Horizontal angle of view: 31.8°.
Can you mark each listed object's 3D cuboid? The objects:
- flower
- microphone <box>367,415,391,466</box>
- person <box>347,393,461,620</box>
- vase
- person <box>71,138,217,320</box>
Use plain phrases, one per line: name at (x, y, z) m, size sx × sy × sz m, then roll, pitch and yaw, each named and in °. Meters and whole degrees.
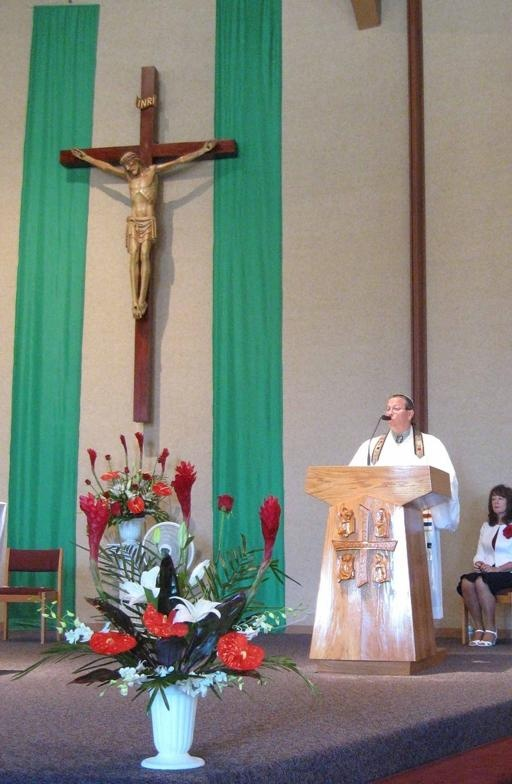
flower at (-0.338, 0.762, 3.959) m, size 1.187 × 1.164 × 1.332 m, roll 2°, pitch -11°, yaw 0°
microphone at (0.653, 0.263, 4.780) m, size 0.065 × 0.240 × 0.042 m, roll 20°, pitch -9°, yaw -21°
person at (0.696, 0.523, 4.215) m, size 0.491 × 1.075 × 0.953 m, roll -1°, pitch -8°, yaw 6°
vase at (-0.144, 0.715, 1.961) m, size 0.188 × 0.203 × 0.185 m, roll 0°, pitch -18°, yaw -4°
person at (-0.772, -1.120, 6.250) m, size 1.064 × 1.253 × 0.317 m, roll -4°, pitch -8°, yaw 23°
